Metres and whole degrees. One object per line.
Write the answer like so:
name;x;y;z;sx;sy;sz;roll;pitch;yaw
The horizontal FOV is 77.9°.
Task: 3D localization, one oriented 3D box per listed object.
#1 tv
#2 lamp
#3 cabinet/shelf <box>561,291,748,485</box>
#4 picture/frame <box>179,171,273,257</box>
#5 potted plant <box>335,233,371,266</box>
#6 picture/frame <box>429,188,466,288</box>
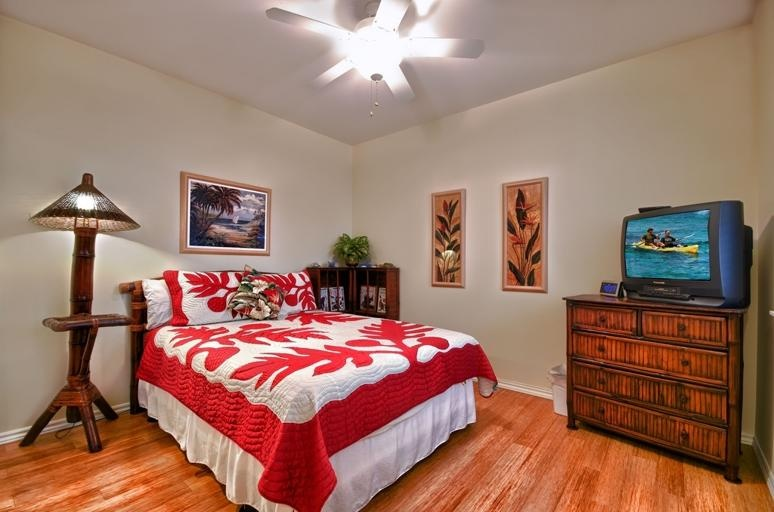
tv;2.644;-0.148;4.454;0.801;1.176;1.182;4;-5;-37
lamp;-2.760;0.450;4.348;0.881;2.492;0.642;-1;-1;-39
cabinet/shelf;2.342;1.143;4.085;1.421;1.382;0.624;-3;-4;42
picture/frame;-1.850;-0.471;5.314;0.976;0.857;0.043;2;1;-42
potted plant;-0.475;-0.075;6.350;0.424;0.361;0.426;-1;-3;7
picture/frame;0.722;-0.208;5.684;0.463;0.979;0.051;-2;-1;37
